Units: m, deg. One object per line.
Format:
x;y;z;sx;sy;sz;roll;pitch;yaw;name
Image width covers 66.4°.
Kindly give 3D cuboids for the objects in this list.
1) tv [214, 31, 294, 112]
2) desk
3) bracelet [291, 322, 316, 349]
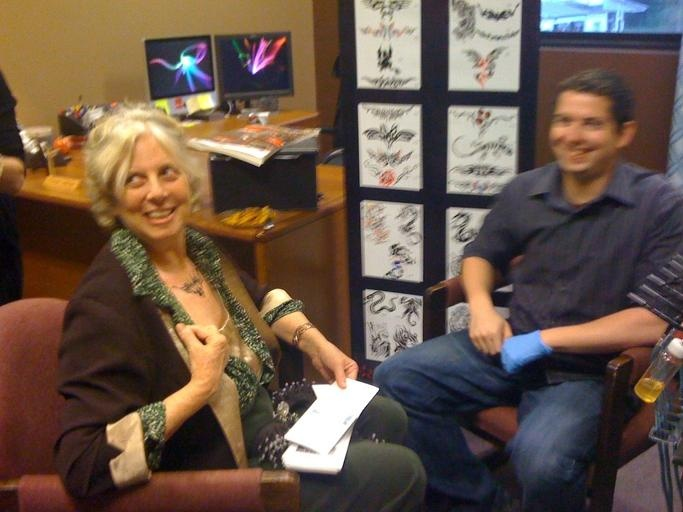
-0.747;-1.537;4.360;0.699;0.539;0.179;-7;17;-18;tv
-0.633;-0.069;2.777;1.361;0.860;1.395;5;14;24;desk
-0.134;0.283;1.850;0.029;0.082;0.070;15;7;3;bracelet
